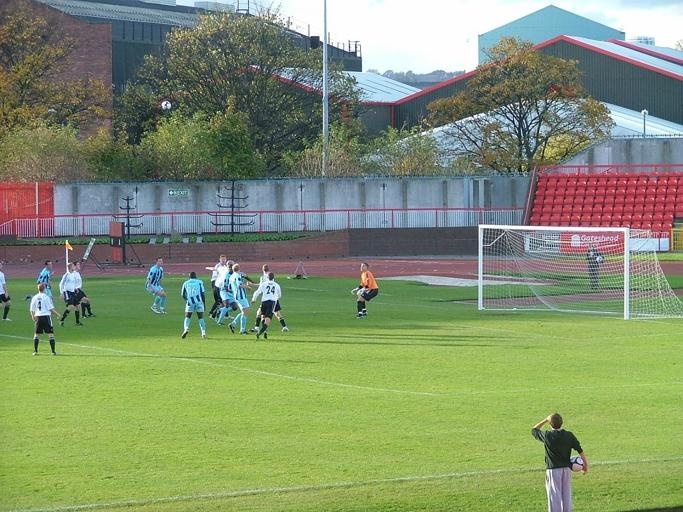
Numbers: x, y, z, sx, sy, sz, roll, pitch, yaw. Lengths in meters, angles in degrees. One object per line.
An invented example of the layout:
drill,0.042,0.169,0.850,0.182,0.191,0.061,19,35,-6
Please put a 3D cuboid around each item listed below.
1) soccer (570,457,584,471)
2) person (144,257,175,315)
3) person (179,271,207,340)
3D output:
soccer,5.840,5.185,30.800,0.323,0.298,0.337,6,1,-29
person,-7.322,1.249,49.012,1.244,2.637,0.984,0,0,28
person,-5.301,1.743,44.121,0.875,2.355,1.392,0,-2,-7
